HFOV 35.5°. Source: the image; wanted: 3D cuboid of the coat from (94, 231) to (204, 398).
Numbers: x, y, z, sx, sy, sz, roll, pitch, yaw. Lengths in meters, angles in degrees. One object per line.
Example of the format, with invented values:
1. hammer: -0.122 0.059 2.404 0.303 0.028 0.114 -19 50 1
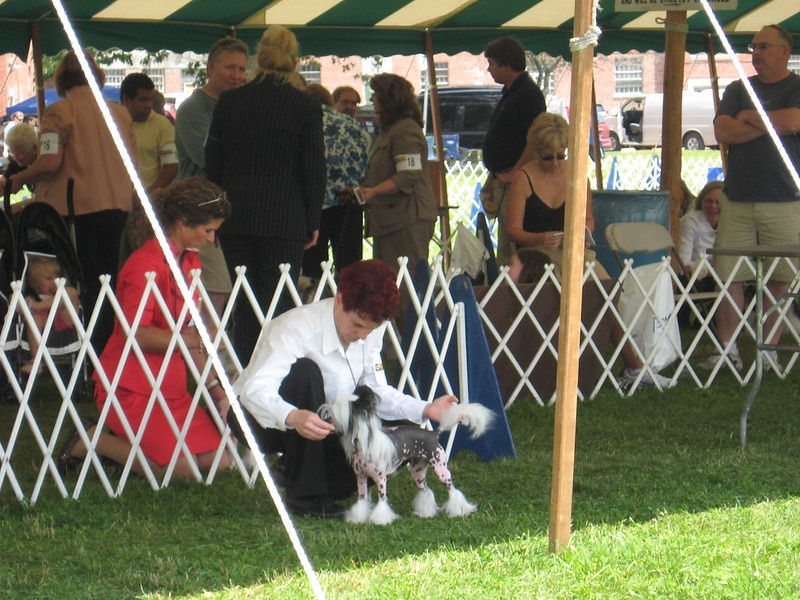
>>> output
1. coat: -1.324 0.023 7.148 0.401 0.880 0.593 -13 -4 28

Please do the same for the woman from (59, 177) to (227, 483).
1. woman: -1.360 0.140 7.082 0.922 1.756 0.736 -1 25 -24

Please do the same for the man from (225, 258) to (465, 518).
1. man: -0.308 0.468 6.475 1.110 1.429 0.928 14 22 11

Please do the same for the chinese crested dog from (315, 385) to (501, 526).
1. chinese crested dog: 0.045 0.811 6.412 0.853 0.702 0.344 1 1 -18

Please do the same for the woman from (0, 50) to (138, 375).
1. woman: -2.295 -0.694 8.548 0.511 1.920 0.565 14 22 25

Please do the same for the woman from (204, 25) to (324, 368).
1. woman: -0.844 -0.595 7.645 0.624 2.186 0.500 10 19 14

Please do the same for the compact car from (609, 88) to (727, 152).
1. compact car: 5.820 -3.786 27.873 2.643 1.322 1.349 3 -4 24

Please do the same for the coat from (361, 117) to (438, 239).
1. coat: 0.017 -0.836 8.803 0.571 1.106 0.904 0 5 -2
